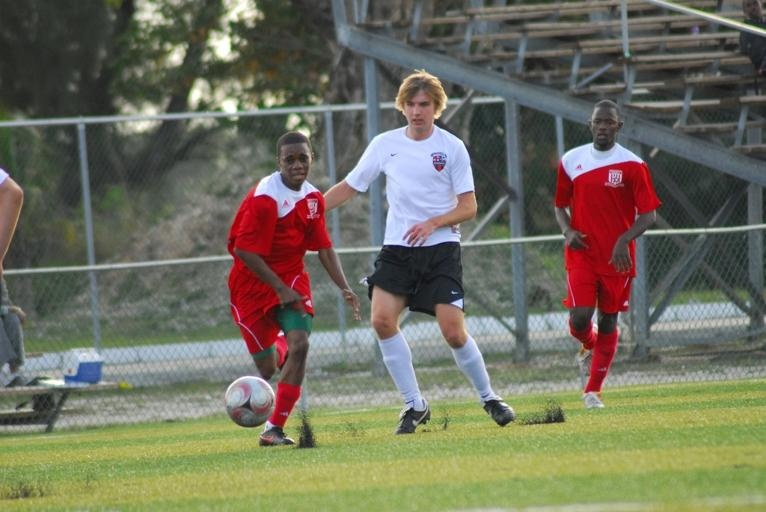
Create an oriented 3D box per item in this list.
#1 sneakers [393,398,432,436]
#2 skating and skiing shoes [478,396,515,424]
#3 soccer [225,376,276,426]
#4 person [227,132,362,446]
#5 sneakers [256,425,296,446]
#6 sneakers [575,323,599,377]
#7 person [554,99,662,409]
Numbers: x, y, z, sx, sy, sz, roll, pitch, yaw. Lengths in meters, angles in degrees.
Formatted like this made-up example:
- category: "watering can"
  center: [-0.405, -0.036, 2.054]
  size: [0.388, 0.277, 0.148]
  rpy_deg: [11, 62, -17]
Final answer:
- category: "sneakers"
  center: [0.260, 1.393, 12.189]
  size: [0.140, 0.215, 0.432]
  rpy_deg: [0, 29, 46]
- category: "skating and skiing shoes"
  center: [0.990, 1.298, 12.187]
  size: [0.157, 0.122, 0.280]
  rpy_deg: [-32, 49, -18]
- category: "soccer"
  center: [-1.142, 1.230, 11.982]
  size: [0.415, 0.405, 0.298]
  rpy_deg: [-10, 11, -41]
- category: "person"
  center: [-0.847, 0.241, 12.240]
  size: [0.941, 2.595, 0.943]
  rpy_deg: [-4, 8, -9]
- category: "sneakers"
  center: [-0.901, 1.509, 11.893]
  size: [0.261, 0.119, 0.143]
  rpy_deg: [-1, -3, 20]
- category: "sneakers"
  center: [1.943, 0.917, 13.503]
  size: [0.234, 0.575, 0.189]
  rpy_deg: [1, 20, -4]
- category: "person"
  center: [2.038, -0.090, 13.015]
  size: [0.881, 2.646, 0.589]
  rpy_deg: [-2, 8, 6]
